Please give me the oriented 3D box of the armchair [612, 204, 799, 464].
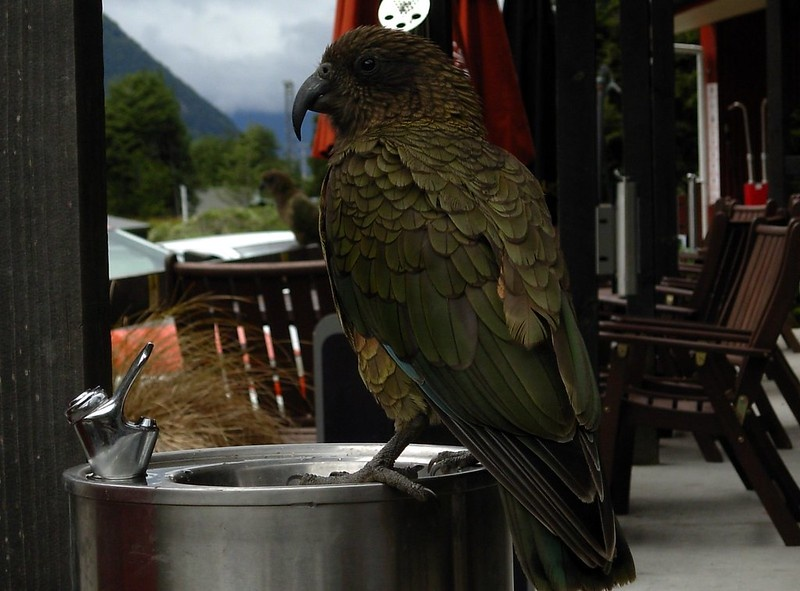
[{"bbox_3d":[1.198,0.101,4.499,0.708,1.258,0.781,-3,5,6],"label":"armchair"}]
